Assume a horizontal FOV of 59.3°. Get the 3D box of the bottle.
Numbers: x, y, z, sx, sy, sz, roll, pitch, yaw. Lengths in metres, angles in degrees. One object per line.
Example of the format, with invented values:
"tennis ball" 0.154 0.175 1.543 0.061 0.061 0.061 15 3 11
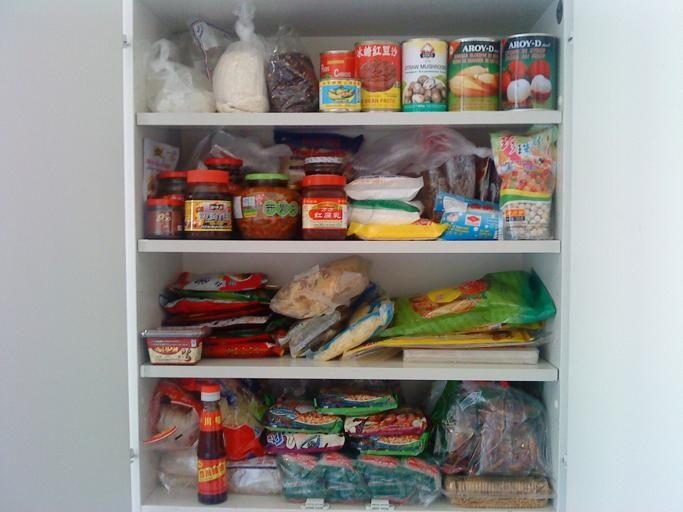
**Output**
"bottle" -0.297 0.430 1.360 0.069 0.274 0.034 -6 8 -15
